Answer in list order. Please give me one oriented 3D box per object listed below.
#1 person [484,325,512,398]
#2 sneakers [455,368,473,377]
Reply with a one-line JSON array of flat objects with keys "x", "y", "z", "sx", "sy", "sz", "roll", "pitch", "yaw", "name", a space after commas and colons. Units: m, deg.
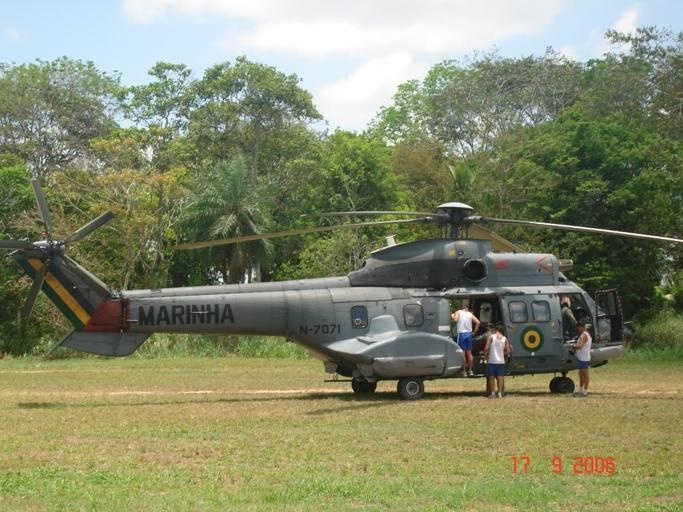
[{"x": 4.808, "y": 3.225, "z": 28.405, "sx": 0.681, "sy": 2.222, "sz": 0.726, "roll": 0, "pitch": 2, "yaw": 35, "name": "person"}, {"x": 3.788, "y": 3.629, "z": 28.470, "sx": 0.517, "sy": 0.201, "sz": 0.214, "roll": -3, "pitch": -3, "yaw": -1, "name": "sneakers"}]
